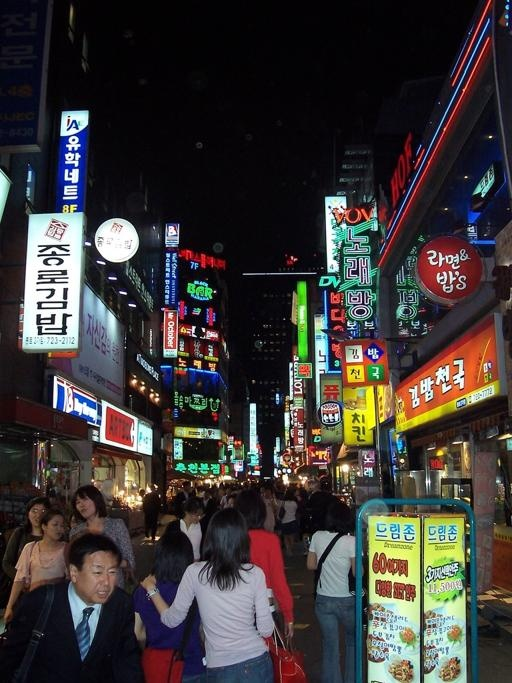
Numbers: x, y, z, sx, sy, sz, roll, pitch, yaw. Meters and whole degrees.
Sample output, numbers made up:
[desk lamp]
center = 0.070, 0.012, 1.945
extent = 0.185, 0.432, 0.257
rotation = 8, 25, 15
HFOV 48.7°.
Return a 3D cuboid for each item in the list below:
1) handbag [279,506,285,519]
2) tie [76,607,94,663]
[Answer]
[handbag]
center = 0.713, 4.772, 15.785
extent = 0.074, 0.266, 0.183
rotation = 10, -7, -5
[tie]
center = -0.692, 1.175, 2.285
extent = 0.071, 0.177, 0.054
rotation = 9, -16, -35
